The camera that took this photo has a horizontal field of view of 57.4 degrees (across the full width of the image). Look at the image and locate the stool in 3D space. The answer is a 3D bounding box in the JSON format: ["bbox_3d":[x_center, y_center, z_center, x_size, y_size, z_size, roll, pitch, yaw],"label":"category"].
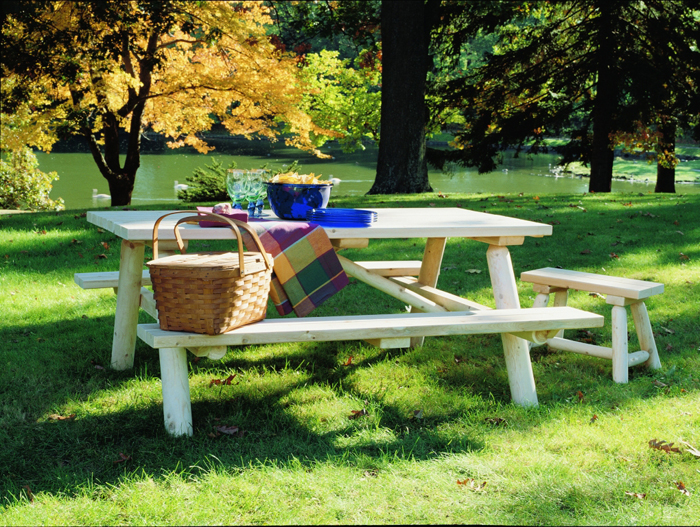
[{"bbox_3d":[1.941,0.488,5.317,0.513,0.691,1.129,-6,10,-34],"label":"stool"}]

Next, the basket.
[{"bbox_3d":[-0.854,0.042,3.913,0.756,0.740,0.570,-3,7,-7],"label":"basket"}]

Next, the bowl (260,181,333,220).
[{"bbox_3d":[-0.397,-0.432,4.635,0.465,0.218,0.432,5,-1,0],"label":"bowl"}]
